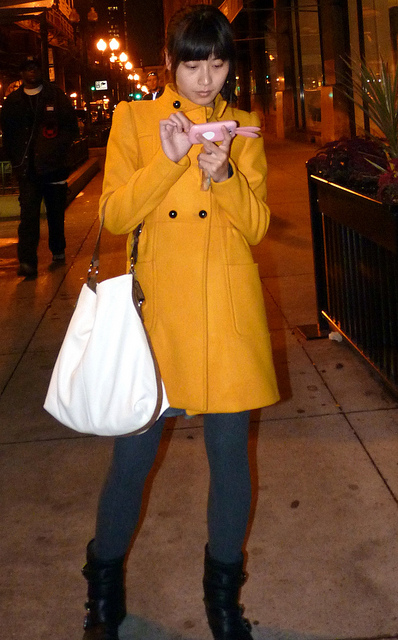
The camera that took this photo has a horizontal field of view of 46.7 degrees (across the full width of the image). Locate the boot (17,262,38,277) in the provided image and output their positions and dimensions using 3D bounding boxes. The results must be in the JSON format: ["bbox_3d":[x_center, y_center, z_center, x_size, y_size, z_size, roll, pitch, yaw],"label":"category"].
[{"bbox_3d":[-2.318,-0.657,6.173,0.327,0.245,0.179,2,0,-22],"label":"boot"}]

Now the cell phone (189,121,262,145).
[{"bbox_3d":[0.061,-0.392,0.957,0.129,0.061,0.019,-3,52,-6],"label":"cell phone"}]

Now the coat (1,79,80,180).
[{"bbox_3d":[-2.179,-2.605,6.260,1.022,1.337,0.620,-6,11,-15],"label":"coat"}]

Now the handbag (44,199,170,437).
[{"bbox_3d":[-0.226,0.019,1.042,0.290,0.565,0.254,-6,11,-17],"label":"handbag"}]

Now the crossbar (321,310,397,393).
[{"bbox_3d":[1.150,0.234,3.261,0.029,0.054,0.893,37,8,-26],"label":"crossbar"}]
